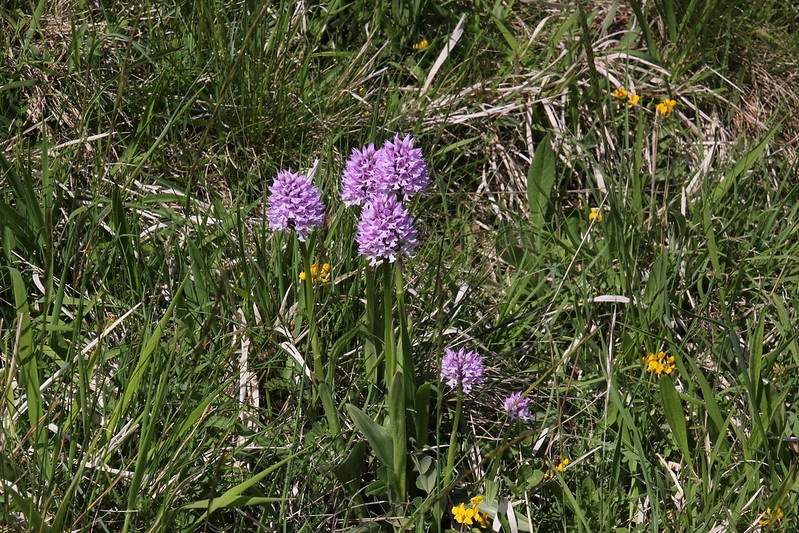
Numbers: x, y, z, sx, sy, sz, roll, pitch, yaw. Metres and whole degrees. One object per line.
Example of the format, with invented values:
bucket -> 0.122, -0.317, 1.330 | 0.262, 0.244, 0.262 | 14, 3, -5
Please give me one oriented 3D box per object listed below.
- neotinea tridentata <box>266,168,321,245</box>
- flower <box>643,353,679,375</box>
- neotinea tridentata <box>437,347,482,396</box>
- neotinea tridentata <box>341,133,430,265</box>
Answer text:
neotinea tridentata -> -0.406, -0.206, 2.762 | 0.203, 0.322, 0.263 | -2, 53, -13
flower -> 1.120, 0.402, 3.068 | 0.107, 0.120, 0.088 | 5, 92, 19
neotinea tridentata -> 0.255, 0.432, 2.978 | 0.174, 0.214, 0.222 | 8, 76, 5
neotinea tridentata -> -0.060, -0.240, 2.820 | 0.314, 0.443, 0.300 | -32, 47, -13
